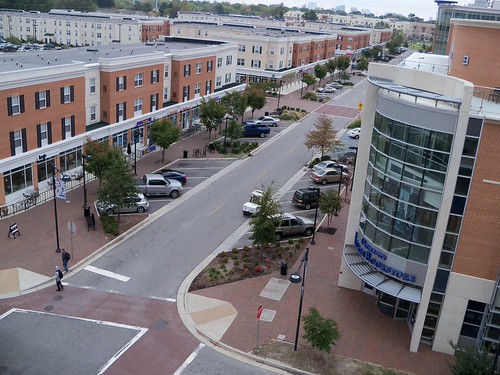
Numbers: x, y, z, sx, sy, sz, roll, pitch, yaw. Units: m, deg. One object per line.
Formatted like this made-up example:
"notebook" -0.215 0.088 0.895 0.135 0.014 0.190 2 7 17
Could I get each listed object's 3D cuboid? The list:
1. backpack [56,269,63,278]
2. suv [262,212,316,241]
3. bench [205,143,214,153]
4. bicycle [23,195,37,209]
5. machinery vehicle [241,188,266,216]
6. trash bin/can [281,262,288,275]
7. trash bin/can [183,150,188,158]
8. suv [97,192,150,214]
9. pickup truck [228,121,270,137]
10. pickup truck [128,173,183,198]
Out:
"backpack" -13.781 6.293 35.916 0.150 0.901 0.454 7 21 13
"suv" 3.986 3.451 45.310 3.815 2.342 0.982 -7 22 -22
"bench" -5.121 -5.275 64.645 0.989 1.007 1.650 -4 22 -16
"bicycle" -20.715 1.295 46.661 0.695 0.963 1.734 5 21 9
"machinery vehicle" 0.328 1.616 48.040 1.541 1.668 2.737 9 18 24
"trash bin/can" 2.712 6.488 39.371 0.485 1.073 0.380 0 20 -6
"trash bin/can" -8.083 -4.160 61.790 0.722 1.100 0.748 -1 20 -8
"suv" -11.756 1.714 46.378 4.437 1.604 2.079 1 13 -17
"pickup truck" -0.082 -8.348 70.509 5.395 1.922 2.551 0 24 -15
"pickup truck" -9.271 0.096 50.705 5.586 2.278 2.351 -4 14 -28
